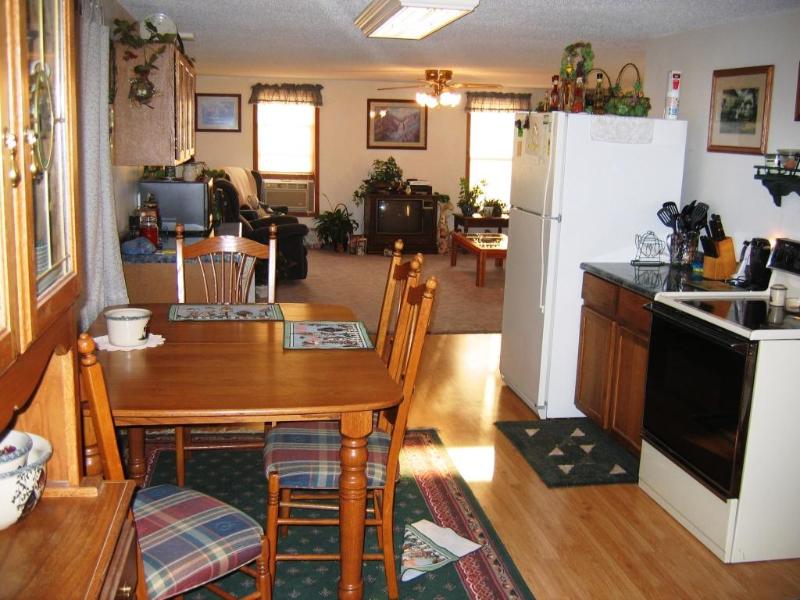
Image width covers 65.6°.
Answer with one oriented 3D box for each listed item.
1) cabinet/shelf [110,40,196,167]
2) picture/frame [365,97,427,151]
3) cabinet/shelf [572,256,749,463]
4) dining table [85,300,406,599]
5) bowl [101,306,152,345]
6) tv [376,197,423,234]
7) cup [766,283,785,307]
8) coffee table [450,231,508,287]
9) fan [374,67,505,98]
[{"bbox_3d":[-1.655,-1.287,4.085,0.382,0.722,1.176,-2,17,-15],"label":"cabinet/shelf"},{"bbox_3d":[-0.112,-2.870,10.063,1.006,0.686,0.039,-1,7,-13],"label":"picture/frame"},{"bbox_3d":[1.384,0.290,4.031,0.975,1.378,0.990,2,12,-2],"label":"cabinet/shelf"},{"bbox_3d":[-0.521,0.715,2.528,1.102,0.633,1.289,0,22,-9],"label":"dining table"},{"bbox_3d":[-1.134,0.116,2.573,0.190,0.124,0.184,4,12,-1],"label":"bowl"},{"bbox_3d":[-0.012,-1.303,9.710,0.923,0.621,0.484,-1,9,-8],"label":"tv"},{"bbox_3d":[1.703,-0.019,2.792,0.092,0.098,0.090,-2,8,0],"label":"cup"},{"bbox_3d":[1.084,-0.652,8.059,0.748,0.452,1.057,-1,18,-8],"label":"coffee table"},{"bbox_3d":[0.439,-2.935,8.371,1.159,0.298,1.157,-9,16,-30],"label":"fan"}]
